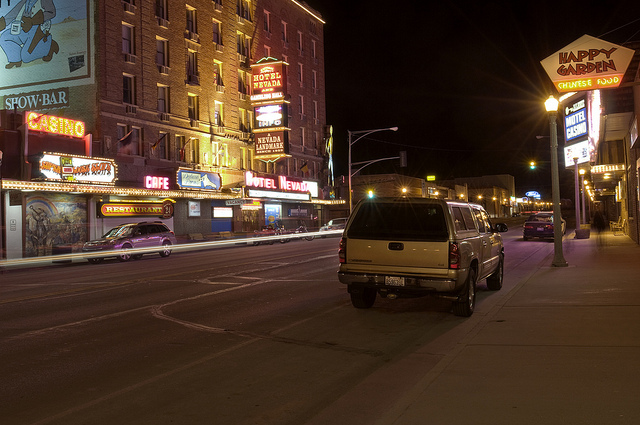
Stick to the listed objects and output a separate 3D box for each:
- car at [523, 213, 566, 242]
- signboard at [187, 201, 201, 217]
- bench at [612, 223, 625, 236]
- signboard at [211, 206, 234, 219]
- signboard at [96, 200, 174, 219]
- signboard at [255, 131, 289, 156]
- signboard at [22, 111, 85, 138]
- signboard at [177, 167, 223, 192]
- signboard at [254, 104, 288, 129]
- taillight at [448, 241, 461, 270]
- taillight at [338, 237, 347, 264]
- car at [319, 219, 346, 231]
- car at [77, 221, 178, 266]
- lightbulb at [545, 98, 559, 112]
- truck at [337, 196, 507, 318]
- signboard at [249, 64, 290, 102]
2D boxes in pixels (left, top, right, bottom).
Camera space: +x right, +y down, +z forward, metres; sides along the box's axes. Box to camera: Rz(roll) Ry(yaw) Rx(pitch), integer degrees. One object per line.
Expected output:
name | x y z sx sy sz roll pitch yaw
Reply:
car | 15.149 1.098 34.363 1.856 1.397 2.120 -3 -2 20
signboard | -10.201 -0.233 40.190 0.266 1.276 1.377 -3 -2 19
bench | 22.199 1.333 36.742 0.754 1.074 0.748 1 -5 0
signboard | -8.549 0.037 43.496 0.087 1.129 2.941 -3 -2 27
signboard | -12.885 -0.258 34.814 0.538 1.282 5.520 -4 -3 40
signboard | -4.400 -6.399 46.207 3.573 2.669 1.516 0 3 32
signboard | -16.298 -5.461 30.797 4.324 1.069 0.487 10 13 9
signboard | -9.432 -2.475 39.162 0.485 1.644 5.288 -3 -2 21
signboard | -4.694 -8.786 45.212 3.835 2.446 0.522 -14 21 -41
taillight | 3.035 0.978 11.171 0.289 0.640 0.082 -2 -2 -15
taillight | 0.552 0.951 12.068 0.148 0.624 0.300 -1 -2 -23
car | 1.494 1.322 49.536 1.168 0.848 2.059 -4 -6 36
car | -10.762 1.730 28.166 2.459 1.966 4.922 -7 -8 32
lightbulb | 8.566 -3.931 18.325 0.415 0.369 0.406 -4 -1 39
truck | 3.166 0.906 13.050 2.340 1.735 4.184 -1 2 30
signboard | -4.516 -11.924 45.714 3.651 3.291 2.116 3 9 30
